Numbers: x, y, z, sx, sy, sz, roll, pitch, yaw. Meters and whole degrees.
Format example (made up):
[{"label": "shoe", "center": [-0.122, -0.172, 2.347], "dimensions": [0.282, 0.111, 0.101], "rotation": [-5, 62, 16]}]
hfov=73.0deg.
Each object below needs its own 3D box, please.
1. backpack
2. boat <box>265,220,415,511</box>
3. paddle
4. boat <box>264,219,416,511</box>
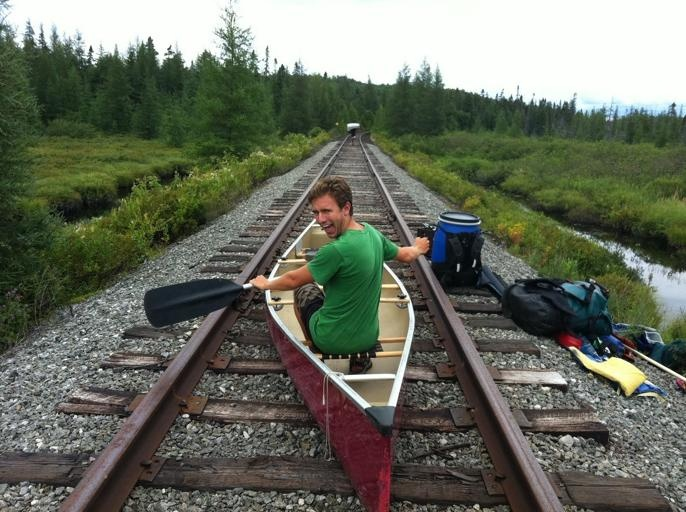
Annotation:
[{"label": "backpack", "center": [2.587, 0.588, 5.645], "dimensions": [0.947, 0.410, 0.749], "rotation": [7, 26, 15]}, {"label": "boat", "center": [-0.041, 0.725, 4.803], "dimensions": [0.924, 0.685, 3.335], "rotation": [-3, 28, -2]}, {"label": "paddle", "center": [-1.232, 0.366, 4.301], "dimensions": [1.176, 0.431, 0.147], "rotation": [-12, 1, -28]}, {"label": "boat", "center": [-0.003, 0.711, 4.721], "dimensions": [0.935, 0.691, 3.283], "rotation": [-3, 28, -3]}]
